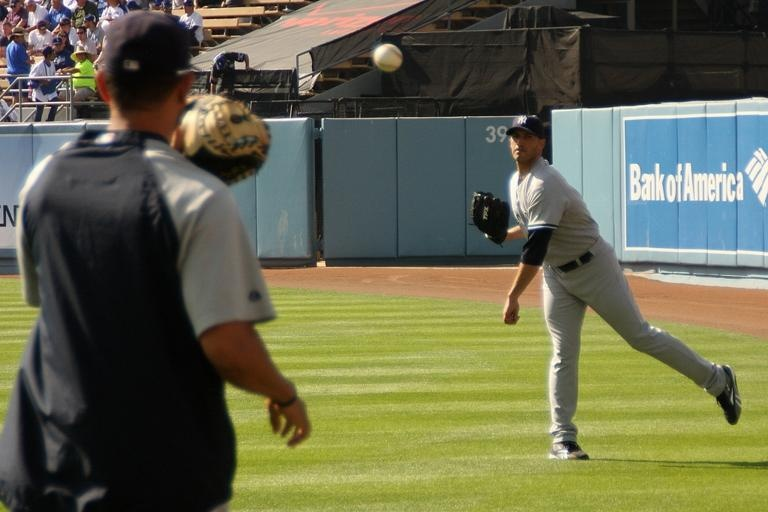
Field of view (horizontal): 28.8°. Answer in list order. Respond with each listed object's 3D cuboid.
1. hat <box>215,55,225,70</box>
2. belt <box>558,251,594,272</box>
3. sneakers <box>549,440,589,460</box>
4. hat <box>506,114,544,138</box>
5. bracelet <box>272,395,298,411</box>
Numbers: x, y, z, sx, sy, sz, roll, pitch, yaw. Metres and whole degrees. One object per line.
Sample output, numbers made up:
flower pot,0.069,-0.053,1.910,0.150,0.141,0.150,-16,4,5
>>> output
hat,-2.896,-3.430,26.382,0.233,0.269,0.152,0,27,1
belt,2.076,0.066,16.368,0.387,0.200,0.040,-6,6,4
sneakers,1.991,2.119,16.331,0.380,0.145,0.195,-1,2,17
hat,1.603,-1.414,16.428,0.358,0.178,0.254,18,-2,-33
bracelet,-0.895,1.322,13.711,0.166,0.039,0.167,1,9,33
